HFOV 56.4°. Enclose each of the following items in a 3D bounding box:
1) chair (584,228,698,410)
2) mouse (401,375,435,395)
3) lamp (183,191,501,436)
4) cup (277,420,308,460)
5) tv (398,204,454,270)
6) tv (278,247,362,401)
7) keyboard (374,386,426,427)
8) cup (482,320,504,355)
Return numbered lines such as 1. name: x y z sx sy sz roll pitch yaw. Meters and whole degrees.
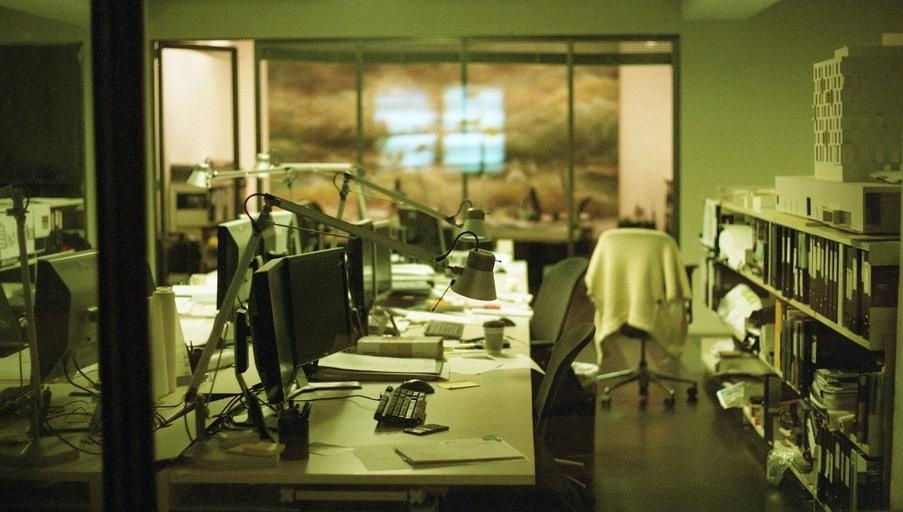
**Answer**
1. chair: 1.497 0.420 6.602 0.881 1.305 1.073 1 8 10
2. mouse: -0.181 0.720 4.702 0.151 0.043 0.085 6 11 -23
3. lamp: -0.647 0.191 4.551 1.429 1.058 1.468 12 11 39
4. cup: -0.772 0.922 4.289 0.190 0.189 0.180 1 3 0
5. tv: -0.208 -0.138 6.235 0.572 0.535 0.060 16 45 33
6. tv: -0.730 0.400 4.601 0.368 0.781 0.716 -7 11 9
7. keyboard: -0.264 0.801 4.517 0.256 0.065 0.258 19 39 20
8. cup: 0.265 0.500 5.161 0.193 0.187 0.180 0 -2 0
